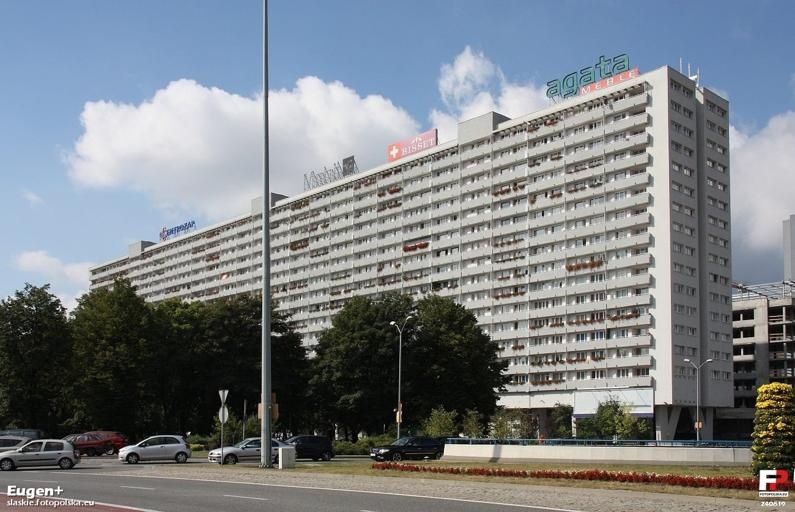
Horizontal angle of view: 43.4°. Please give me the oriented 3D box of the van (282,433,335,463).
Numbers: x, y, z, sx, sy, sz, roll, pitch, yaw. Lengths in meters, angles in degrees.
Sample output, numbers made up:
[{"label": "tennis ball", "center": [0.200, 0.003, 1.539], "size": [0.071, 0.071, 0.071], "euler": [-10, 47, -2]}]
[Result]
[{"label": "van", "center": [-8.391, 18.255, 95.557], "size": [4.158, 1.794, 2.506], "euler": [6, -11, -17]}]
